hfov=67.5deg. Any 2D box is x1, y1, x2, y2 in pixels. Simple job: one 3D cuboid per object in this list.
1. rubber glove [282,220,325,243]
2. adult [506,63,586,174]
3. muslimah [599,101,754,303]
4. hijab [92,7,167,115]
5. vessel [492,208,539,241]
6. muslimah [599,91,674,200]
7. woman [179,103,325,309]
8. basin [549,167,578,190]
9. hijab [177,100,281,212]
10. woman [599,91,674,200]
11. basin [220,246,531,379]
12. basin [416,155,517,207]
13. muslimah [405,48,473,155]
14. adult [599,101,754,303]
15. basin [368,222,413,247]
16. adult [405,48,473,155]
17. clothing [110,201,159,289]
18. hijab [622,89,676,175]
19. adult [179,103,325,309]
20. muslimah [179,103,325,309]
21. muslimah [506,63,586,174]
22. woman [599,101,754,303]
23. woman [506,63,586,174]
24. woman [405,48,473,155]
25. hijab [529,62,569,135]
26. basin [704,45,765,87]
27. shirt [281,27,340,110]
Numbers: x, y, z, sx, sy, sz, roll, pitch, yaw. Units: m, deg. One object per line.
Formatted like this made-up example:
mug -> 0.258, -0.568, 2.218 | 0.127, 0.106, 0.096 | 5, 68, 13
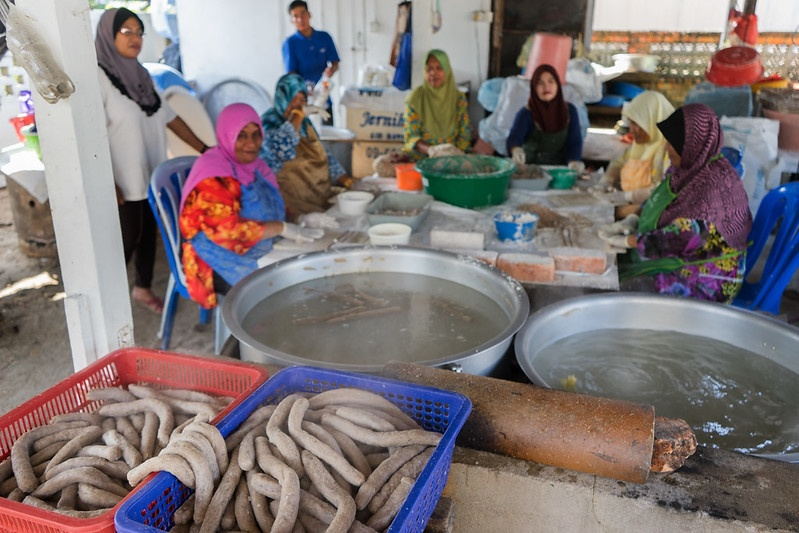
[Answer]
rubber glove -> -0.595, -0.212, 3.670 | 0.197, 0.053, 0.138 | 8, 55, 13
adult -> 1.239, -1.198, 5.221 | 0.726, 0.997, 0.690 | -14, 29, -9
muslimah -> 1.790, -0.239, 3.876 | 0.899, 1.552, 0.834 | 8, 19, 33
hijab -> -2.065, -1.552, 4.580 | 0.430, 0.785, 0.232 | -14, 26, -28
vessel -> 0.684, -0.241, 3.505 | 0.196, 0.092, 0.189 | 4, 14, 28
muslimah -> 1.942, -0.958, 4.815 | 0.615, 0.838, 0.636 | -11, 30, 20
woman -> -0.957, -0.429, 3.962 | 0.862, 1.280, 0.803 | 6, 19, 21
basin -> 1.221, -0.657, 4.543 | 0.183, 0.092, 0.186 | -3, 16, 1
hijab -> -0.986, -0.741, 3.863 | 0.674, 0.566, 0.353 | -2, -10, -15
woman -> 1.938, -0.928, 4.773 | 0.586, 0.757, 0.569 | -25, 30, -9
basin -> -0.103, 0.202, 2.876 | 1.400, 0.275, 0.994 | 2, 23, 4
basin -> 0.457, -0.580, 4.076 | 0.476, 0.178, 0.474 | -5, 20, 2
muslimah -> 0.377, -1.519, 5.533 | 0.726, 0.899, 0.346 | -14, 27, -29
adult -> 1.797, -0.245, 3.881 | 0.840, 1.554, 0.826 | 8, 19, 32
basin -> -0.047, -0.187, 3.453 | 0.158, 0.063, 0.162 | -4, 22, 2
adult -> 0.326, -1.465, 5.507 | 0.692, 0.970, 0.665 | -13, 30, -19
clothing -> -2.079, -0.190, 4.824 | 0.161, 0.750, 0.187 | 4, 3, 3
hijab -> 1.964, -1.100, 4.729 | 0.368, 0.521, 0.426 | 16, -9, -14
adult -> -1.017, -0.437, 3.974 | 0.791, 1.277, 0.787 | 9, 17, 35
muslimah -> -0.955, -0.434, 3.989 | 0.849, 1.237, 0.781 | 5, 19, 13
muslimah -> 1.249, -1.205, 5.248 | 0.700, 1.017, 0.696 | -10, 34, 0
woman -> 1.789, -0.241, 3.881 | 0.892, 1.525, 0.816 | 9, 20, 35
woman -> 1.259, -1.197, 5.257 | 0.681, 0.993, 0.681 | -8, 34, 2
woman -> 0.376, -1.516, 5.528 | 0.718, 0.899, 0.347 | -12, 26, -26
hijab -> 1.282, -1.454, 5.189 | 0.339, 0.582, 0.188 | 2, 32, 18
basin -> 3.422, -2.060, 6.145 | 0.452, 0.184, 0.460 | -14, 35, 10
shirt -> -1.075, -2.593, 7.389 | 0.697, 0.783, 0.285 | -17, 53, -7
